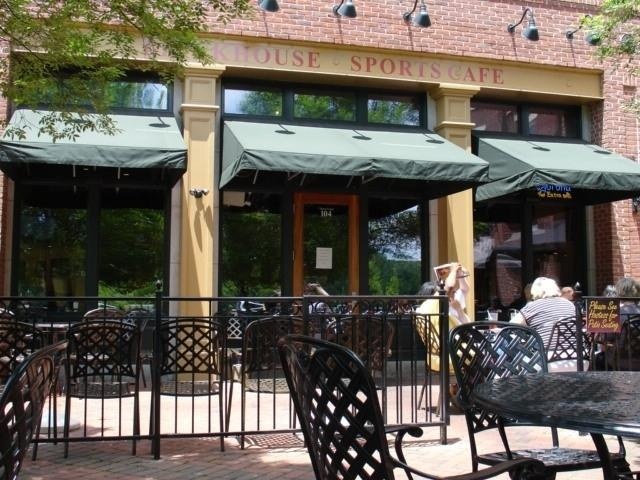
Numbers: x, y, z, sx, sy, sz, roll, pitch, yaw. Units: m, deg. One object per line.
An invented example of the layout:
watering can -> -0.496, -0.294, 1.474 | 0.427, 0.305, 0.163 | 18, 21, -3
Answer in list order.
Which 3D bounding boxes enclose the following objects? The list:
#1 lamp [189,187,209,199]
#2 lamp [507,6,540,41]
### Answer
lamp -> -2.094, -0.795, 13.415 | 0.327, 0.165, 0.124 | 0, -6, -7
lamp -> 3.921, -4.172, 15.078 | 0.638, 0.743, 0.460 | 5, -8, -43
